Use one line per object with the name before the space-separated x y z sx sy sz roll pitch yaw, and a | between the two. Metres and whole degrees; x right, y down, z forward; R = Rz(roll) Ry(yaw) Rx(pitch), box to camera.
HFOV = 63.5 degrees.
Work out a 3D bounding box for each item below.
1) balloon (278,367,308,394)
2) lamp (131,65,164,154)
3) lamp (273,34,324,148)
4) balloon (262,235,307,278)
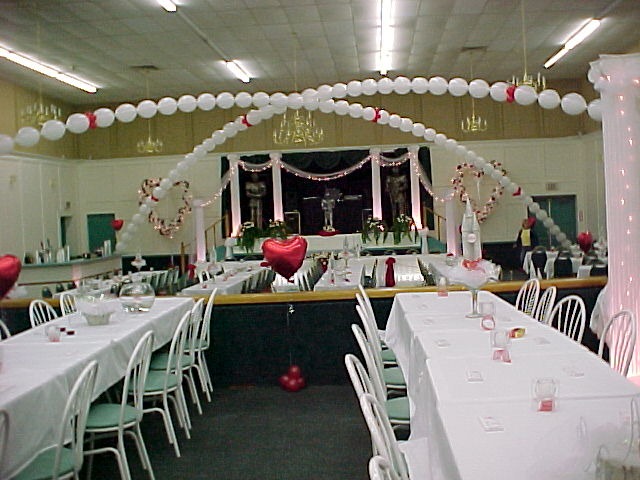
balloon | -0.300 1.445 5.350 0.218 0.247 0.105 -10 10 10
lamp | -4.671 -3.351 14.000 0.737 2.084 3.358 -7 12 -18
lamp | -0.602 -3.449 13.275 1.356 2.201 4.324 -4 11 -5
balloon | -0.444 0.188 6.281 0.513 0.562 0.485 -3 1 -8
